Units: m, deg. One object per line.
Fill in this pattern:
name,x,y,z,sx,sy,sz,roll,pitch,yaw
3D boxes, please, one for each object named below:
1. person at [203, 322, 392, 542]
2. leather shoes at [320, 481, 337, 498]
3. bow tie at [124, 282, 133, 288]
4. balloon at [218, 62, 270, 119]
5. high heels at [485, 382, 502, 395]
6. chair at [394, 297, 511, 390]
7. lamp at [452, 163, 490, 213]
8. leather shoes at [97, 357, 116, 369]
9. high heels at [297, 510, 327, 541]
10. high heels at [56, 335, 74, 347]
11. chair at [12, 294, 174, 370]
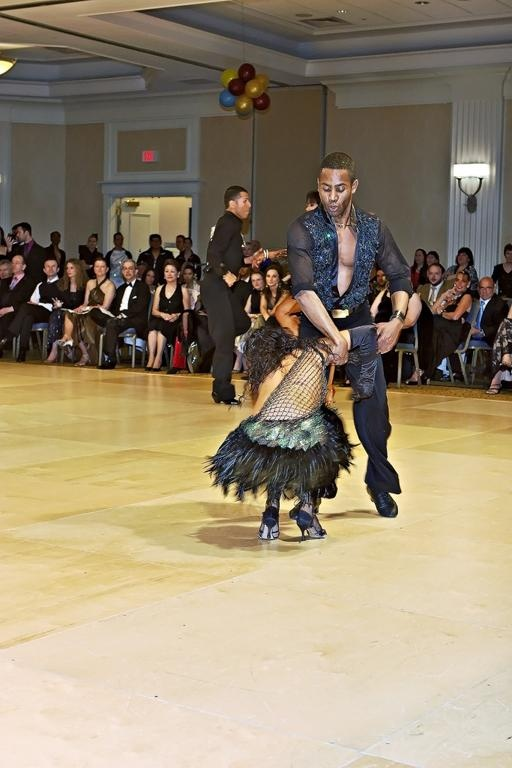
person,0.189,0.218,2.808,0.568,1.015,0.722,0,-3,25
leather shoes,0.336,0.484,2.794,0.085,0.108,0.105,1,-8,-4
bow tie,-2.226,-1.740,10.859,0.141,0.086,0.041,0,-3,18
balloon,-0.220,-5.391,11.317,0.873,0.958,0.478,-1,-4,38
high heels,3.378,0.079,8.793,0.180,0.163,0.245,1,-3,15
chair,2.829,-0.574,8.814,1.053,1.291,1.015,15,11,-38
lamp,4.701,-4.262,13.531,0.763,1.028,0.385,1,-3,18
leather shoes,-2.537,-0.330,10.516,0.262,0.214,0.302,2,-3,-14
high heels,0.253,0.652,2.870,0.080,0.113,0.235,9,4,26
high heels,-3.337,-0.718,10.825,0.266,0.173,0.174,2,-3,-16
chair,-3.025,-0.917,10.994,2.704,1.181,0.750,0,-3,29
